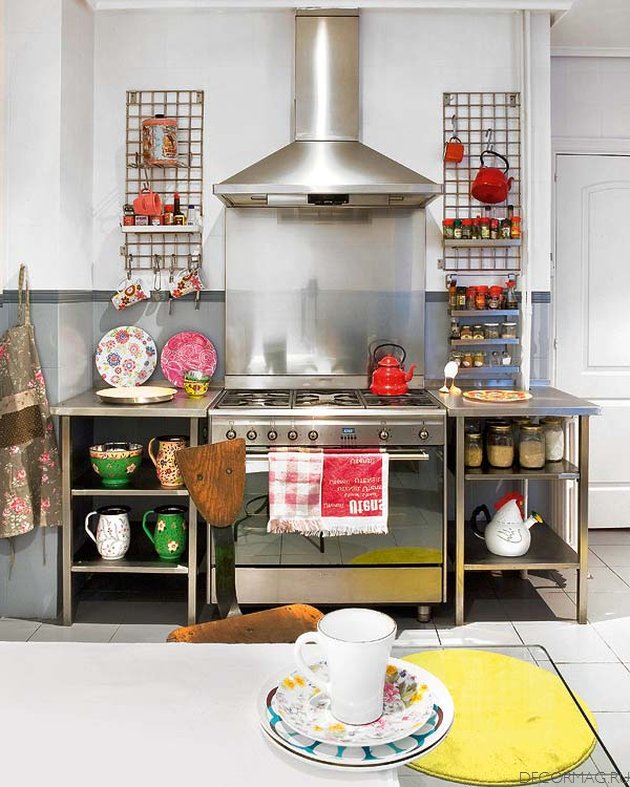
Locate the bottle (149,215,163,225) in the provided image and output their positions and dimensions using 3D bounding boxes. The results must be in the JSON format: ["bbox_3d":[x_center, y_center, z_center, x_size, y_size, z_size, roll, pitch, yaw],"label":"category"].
[{"bbox_3d":[-0.700,-0.763,3.104,0.051,0.049,0.049,-1,0,3],"label":"bottle"}]

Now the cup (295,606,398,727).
[{"bbox_3d":[0.038,0.264,0.714,0.119,0.112,0.085,-1,8,6],"label":"cup"}]

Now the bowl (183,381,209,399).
[{"bbox_3d":[-0.498,-0.019,2.929,0.078,0.053,0.076,-1,5,0],"label":"bowl"}]

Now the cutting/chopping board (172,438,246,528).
[{"bbox_3d":[-0.146,0.149,1.114,0.073,0.147,0.145,7,10,41],"label":"cutting/chopping board"}]

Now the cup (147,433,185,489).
[{"bbox_3d":[-0.587,0.263,2.771,0.178,0.175,0.112,6,10,23],"label":"cup"}]

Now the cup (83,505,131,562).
[{"bbox_3d":[-0.827,0.557,2.793,0.189,0.189,0.127,2,-1,-5],"label":"cup"}]

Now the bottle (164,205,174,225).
[{"bbox_3d":[-0.663,-0.803,3.144,0.045,0.092,0.075,-6,10,-43],"label":"bottle"}]

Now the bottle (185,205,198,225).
[{"bbox_3d":[-0.561,-0.825,3.229,0.059,0.075,0.025,-1,7,-10],"label":"bottle"}]

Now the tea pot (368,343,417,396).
[{"bbox_3d":[0.321,-0.106,3.069,0.199,0.278,0.251,-2,6,-10],"label":"tea pot"}]

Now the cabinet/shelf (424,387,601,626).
[{"bbox_3d":[0.855,0.367,3.098,0.628,0.899,1.016,-1,1,3],"label":"cabinet/shelf"}]

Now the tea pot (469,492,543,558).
[{"bbox_3d":[0.769,0.534,2.882,0.308,0.275,0.210,-1,1,8],"label":"tea pot"}]

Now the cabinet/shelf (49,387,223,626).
[{"bbox_3d":[-0.482,0.397,2.851,0.689,1.056,0.885,0,3,-3],"label":"cabinet/shelf"}]

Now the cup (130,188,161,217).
[{"bbox_3d":[-0.747,-0.845,3.127,0.140,0.120,0.081,4,8,22],"label":"cup"}]

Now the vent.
[{"bbox_3d":[0.044,-1.240,3.087,0.925,0.812,0.618,0,7,-1],"label":"vent"}]

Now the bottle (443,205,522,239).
[{"bbox_3d":[0.761,-0.752,3.182,0.357,0.109,0.120,2,8,7],"label":"bottle"}]

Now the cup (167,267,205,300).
[{"bbox_3d":[-0.588,-0.498,3.206,0.149,0.140,0.145,1,8,0],"label":"cup"}]

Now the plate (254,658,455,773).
[{"bbox_3d":[0.036,0.308,0.661,0.106,0.014,0.106,2,8,17],"label":"plate"}]

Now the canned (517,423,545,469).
[{"bbox_3d":[0.858,0.208,2.753,0.115,0.185,0.066,0,7,-7],"label":"canned"}]

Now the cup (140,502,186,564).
[{"bbox_3d":[-0.599,0.552,2.783,0.190,0.188,0.129,2,3,-14],"label":"cup"}]

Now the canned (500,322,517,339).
[{"bbox_3d":[0.892,-0.291,3.237,0.071,0.073,0.069,-1,2,0],"label":"canned"}]

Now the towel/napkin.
[{"bbox_3d":[0.047,0.357,2.539,0.308,0.218,0.035,0,4,-2],"label":"towel/napkin"}]

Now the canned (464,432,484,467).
[{"bbox_3d":[0.642,0.221,2.781,0.053,0.147,0.155,6,9,33],"label":"canned"}]

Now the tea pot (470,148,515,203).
[{"bbox_3d":[0.782,-0.960,3.055,0.178,0.180,0.121,8,-1,-2],"label":"tea pot"}]

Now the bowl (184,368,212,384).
[{"bbox_3d":[-0.480,-0.070,2.940,0.083,0.055,0.084,1,11,0],"label":"bowl"}]

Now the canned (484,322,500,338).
[{"bbox_3d":[0.807,-0.290,3.218,0.067,0.075,0.066,0,0,-4],"label":"canned"}]

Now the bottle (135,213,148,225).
[{"bbox_3d":[-0.774,-0.776,3.138,0.070,0.066,0.036,0,1,-5],"label":"bottle"}]

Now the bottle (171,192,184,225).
[{"bbox_3d":[-0.615,-0.838,3.186,0.048,0.150,0.146,-1,8,-10],"label":"bottle"}]

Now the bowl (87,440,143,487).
[{"bbox_3d":[-0.784,0.278,2.795,0.171,0.124,0.176,0,-2,0],"label":"bowl"}]

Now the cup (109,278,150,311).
[{"bbox_3d":[-0.841,-0.453,3.221,0.170,0.139,0.130,-1,8,-15],"label":"cup"}]

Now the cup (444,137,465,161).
[{"bbox_3d":[0.630,-1.113,3.177,0.093,0.122,0.162,2,8,11],"label":"cup"}]
